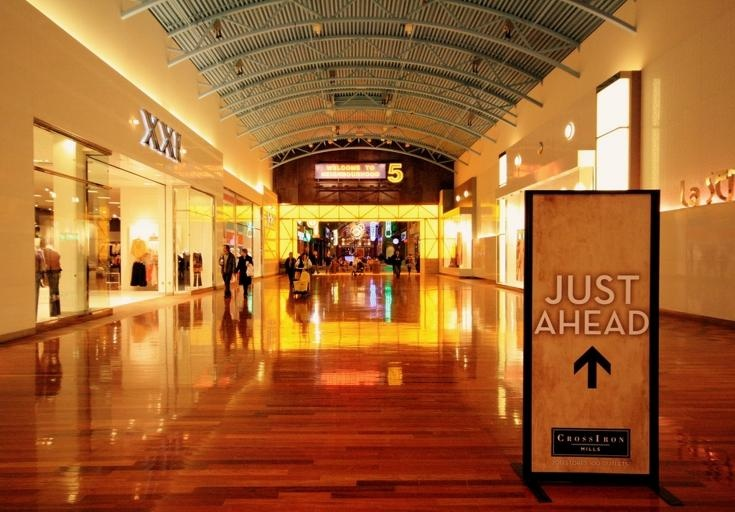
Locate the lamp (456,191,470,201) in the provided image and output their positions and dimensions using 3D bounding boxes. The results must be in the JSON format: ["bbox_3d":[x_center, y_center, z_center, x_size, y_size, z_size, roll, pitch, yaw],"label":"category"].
[{"bbox_3d":[4.548,-2.913,26.155,0.102,0.355,0.952,7,0,-9],"label":"lamp"}]

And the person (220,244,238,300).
[{"bbox_3d":[-3.785,0.420,14.677,0.385,1.662,1.197,-3,12,-14],"label":"person"}]

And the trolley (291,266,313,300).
[{"bbox_3d":[-1.819,0.747,15.597,0.705,1.252,0.764,1,0,6],"label":"trolley"}]
